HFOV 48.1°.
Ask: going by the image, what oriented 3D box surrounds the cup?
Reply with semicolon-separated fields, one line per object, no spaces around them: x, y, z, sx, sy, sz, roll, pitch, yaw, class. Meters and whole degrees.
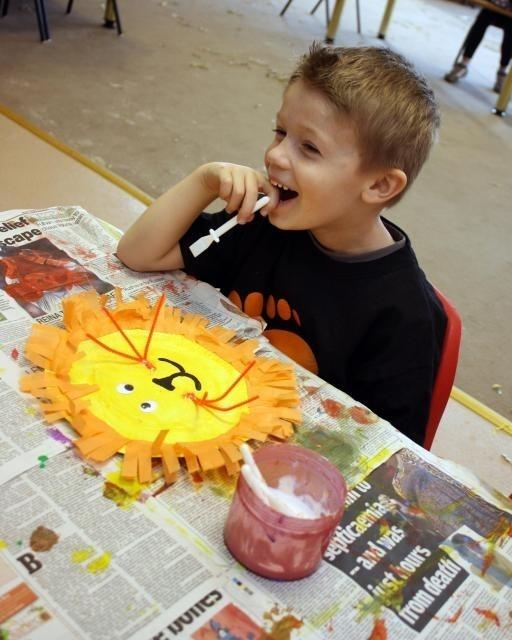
0.023;0.160;0.517;0.111;0.105;0.109;16;35;-11;cup
